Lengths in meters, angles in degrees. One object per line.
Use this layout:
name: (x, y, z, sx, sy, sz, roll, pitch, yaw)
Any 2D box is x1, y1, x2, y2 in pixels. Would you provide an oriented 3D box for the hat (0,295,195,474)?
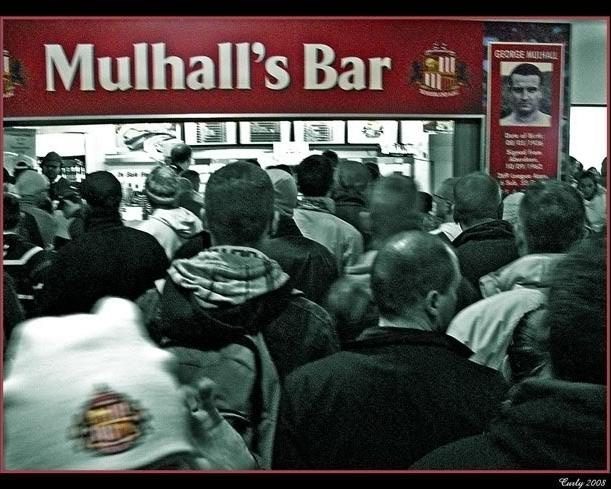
hat: (-1.055, 0.636, 2.873, 0.833, 0.841, 0.234, -3, 5, -5)

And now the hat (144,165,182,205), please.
hat: (-0.644, -0.297, 2.977, 0.147, 0.183, 0.183, 2, 41, 5)

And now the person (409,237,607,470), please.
person: (0.963, 0.568, 3.017, 0.975, 1.120, 0.638, 5, 13, 2)

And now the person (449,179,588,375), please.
person: (1.025, 0.182, 3.032, 0.914, 0.735, 0.423, 0, 20, -10)

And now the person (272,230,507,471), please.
person: (0.370, 0.535, 2.993, 1.117, 0.820, 0.559, 0, 16, 9)

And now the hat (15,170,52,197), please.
hat: (-1.284, -0.281, 2.932, 0.161, 0.125, 0.033, 2, 8, 16)
